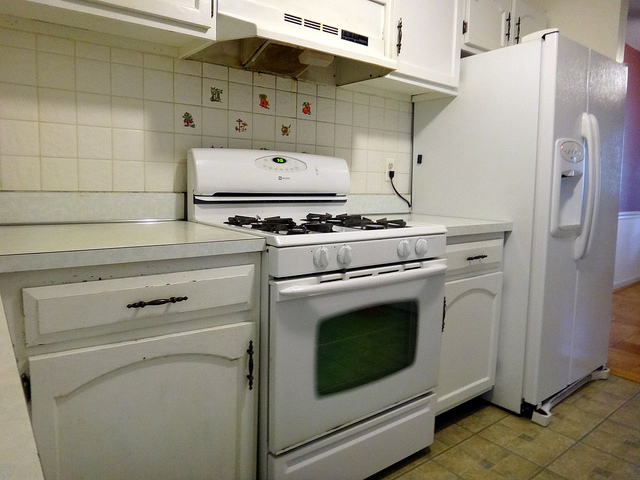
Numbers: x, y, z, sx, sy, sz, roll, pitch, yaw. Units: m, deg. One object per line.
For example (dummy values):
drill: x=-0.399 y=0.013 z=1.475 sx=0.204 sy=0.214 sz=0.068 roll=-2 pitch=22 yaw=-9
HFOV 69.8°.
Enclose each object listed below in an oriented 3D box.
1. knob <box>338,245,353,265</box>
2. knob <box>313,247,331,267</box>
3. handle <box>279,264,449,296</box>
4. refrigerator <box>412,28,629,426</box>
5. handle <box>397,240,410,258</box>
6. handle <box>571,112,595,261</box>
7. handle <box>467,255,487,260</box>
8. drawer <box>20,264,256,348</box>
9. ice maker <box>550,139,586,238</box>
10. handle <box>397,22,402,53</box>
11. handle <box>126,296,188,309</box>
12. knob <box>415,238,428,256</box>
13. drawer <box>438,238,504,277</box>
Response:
knob: x=0.087 y=0.052 z=1.673 sx=0.063 sy=0.069 sz=0.027 roll=-2 pitch=7 yaw=-23
knob: x=0.003 y=0.058 z=1.631 sx=0.064 sy=0.068 sz=0.021 roll=-4 pitch=9 yaw=-33
handle: x=0.204 y=0.157 z=1.754 sx=0.774 sy=0.057 sz=0.046 roll=-6 pitch=12 yaw=-30
refrigerator: x=1.154 y=-0.209 z=2.832 sx=0.997 sy=2.350 sz=0.894 roll=1 pitch=3 yaw=-23
handle: x=0.329 y=0.032 z=1.833 sx=0.065 sy=0.068 sz=0.009 roll=-3 pitch=7 yaw=-37
handle: x=1.406 y=-0.287 z=2.421 sx=0.115 sy=0.685 sz=0.174 roll=9 pitch=12 yaw=40
handle: x=0.760 y=0.084 z=2.250 sx=0.068 sy=0.014 sz=0.011 roll=-13 pitch=9 yaw=-24
drawer: x=-0.648 y=0.176 z=1.678 sx=0.703 sy=0.174 sz=0.517 roll=-4 pitch=7 yaw=-28
ice maker: x=1.230 y=-0.257 z=2.411 sx=0.292 sy=0.483 sz=0.222 roll=-2 pitch=4 yaw=-30
handle: x=0.384 y=-0.985 z=2.232 sx=0.018 sy=0.125 sz=0.040 roll=2 pitch=10 yaw=9
handle: x=-0.521 y=0.195 z=1.450 sx=0.165 sy=0.029 sz=0.022 roll=-7 pitch=-16 yaw=-28
knob: x=0.412 y=0.026 z=1.884 sx=0.063 sy=0.079 sz=0.043 roll=-4 pitch=9 yaw=-36
drawer: x=0.698 y=0.085 z=2.363 sx=0.438 sy=0.217 sz=0.286 roll=-5 pitch=5 yaw=-29
